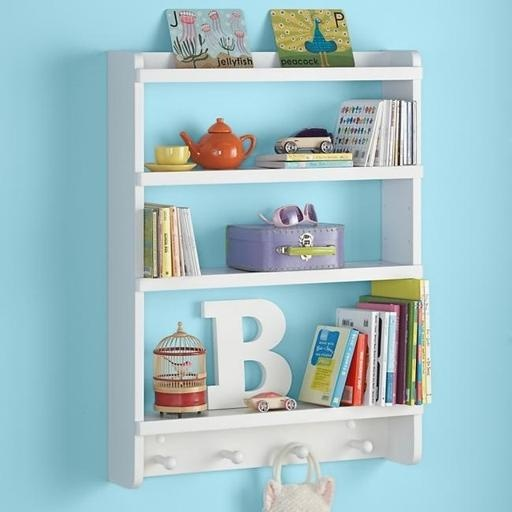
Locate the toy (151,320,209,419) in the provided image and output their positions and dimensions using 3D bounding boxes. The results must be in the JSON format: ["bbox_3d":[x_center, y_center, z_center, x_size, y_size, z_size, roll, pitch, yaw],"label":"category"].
[{"bbox_3d":[-0.180,0.262,1.319,0.133,0.210,0.168,-4,4,-9],"label":"toy"}]

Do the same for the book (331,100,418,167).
[{"bbox_3d":[0.293,-0.308,1.405,0.157,0.181,0.171,-5,4,-19],"label":"book"}]

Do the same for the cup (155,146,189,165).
[{"bbox_3d":[-0.181,-0.216,1.222,0.055,0.025,0.042,-1,2,-16],"label":"cup"}]

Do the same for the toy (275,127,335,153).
[{"bbox_3d":[0.122,-0.262,1.326,0.116,0.057,0.069,0,3,-21],"label":"toy"}]

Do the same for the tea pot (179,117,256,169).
[{"bbox_3d":[-0.083,-0.245,1.267,0.166,0.113,0.104,-1,5,-22],"label":"tea pot"}]

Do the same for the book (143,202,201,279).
[{"bbox_3d":[-0.174,-0.037,1.251,0.138,0.191,0.136,-2,7,-23],"label":"book"}]

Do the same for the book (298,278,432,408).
[{"bbox_3d":[0.331,0.192,1.624,0.276,0.519,0.384,1,-4,-18],"label":"book"}]

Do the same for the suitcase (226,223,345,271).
[{"bbox_3d":[0.071,-0.022,1.334,0.282,0.113,0.130,-4,4,-4],"label":"suitcase"}]

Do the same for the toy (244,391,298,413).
[{"bbox_3d":[0.034,0.337,1.331,0.080,0.030,0.055,1,-2,-15],"label":"toy"}]
